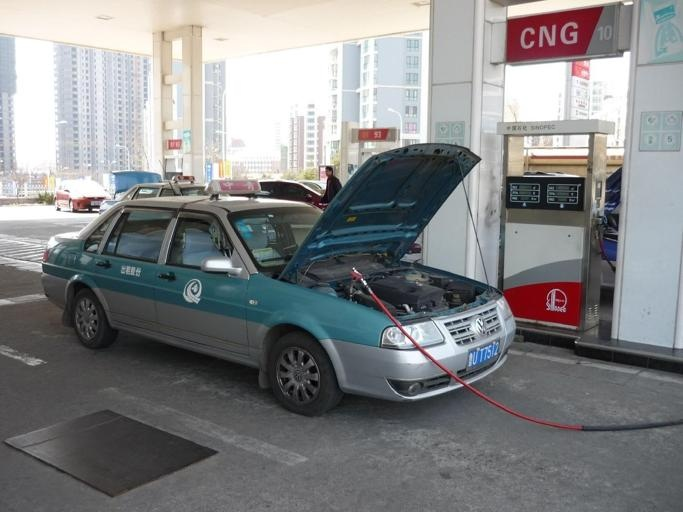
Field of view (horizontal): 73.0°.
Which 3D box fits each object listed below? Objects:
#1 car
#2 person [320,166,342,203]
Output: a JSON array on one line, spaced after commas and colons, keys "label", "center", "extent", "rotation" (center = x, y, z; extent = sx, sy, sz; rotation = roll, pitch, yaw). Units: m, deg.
[{"label": "car", "center": [-0.692, 0.002, 5.491], "extent": [5.024, 2.192, 2.382], "rotation": [7, 12, 29]}, {"label": "person", "center": [-0.304, -2.494, 15.530], "extent": [0.757, 1.139, 0.633], "rotation": [0, 35, -6]}]
